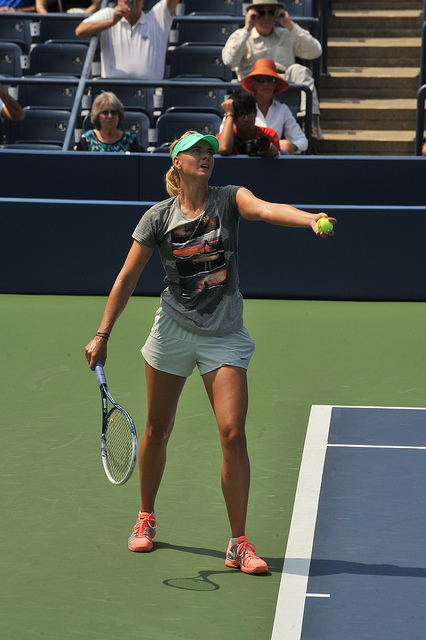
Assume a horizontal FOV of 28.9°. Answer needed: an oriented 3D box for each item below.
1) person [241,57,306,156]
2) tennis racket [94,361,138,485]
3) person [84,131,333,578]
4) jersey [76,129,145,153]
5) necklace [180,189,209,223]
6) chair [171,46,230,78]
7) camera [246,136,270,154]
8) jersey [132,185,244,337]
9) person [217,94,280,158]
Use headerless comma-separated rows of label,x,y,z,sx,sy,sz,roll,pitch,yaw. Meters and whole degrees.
person,0.662,-2.402,9.393,0.671,0.901,1.554,-4,26,-6
tennis racket,-0.474,0.505,3.999,0.050,0.237,0.646,11,23,-23
person,-0.039,0.106,3.247,0.883,1.667,0.490,9,16,40
jersey,-1.190,-2.042,9.414,0.504,0.311,0.257,-1,-8,0
necklace,-0.068,-0.454,3.284,0.109,0.120,0.010,27,10,23
chair,-0.162,-3.590,11.441,0.676,0.532,0.330,0,5,5
camera,0.477,-1.859,8.723,0.116,0.167,0.193,-14,0,-29
jersey,-0.107,-0.227,3.295,0.415,0.571,0.211,0,12,2
person,0.338,-2.049,8.896,0.769,0.682,0.600,3,7,1
